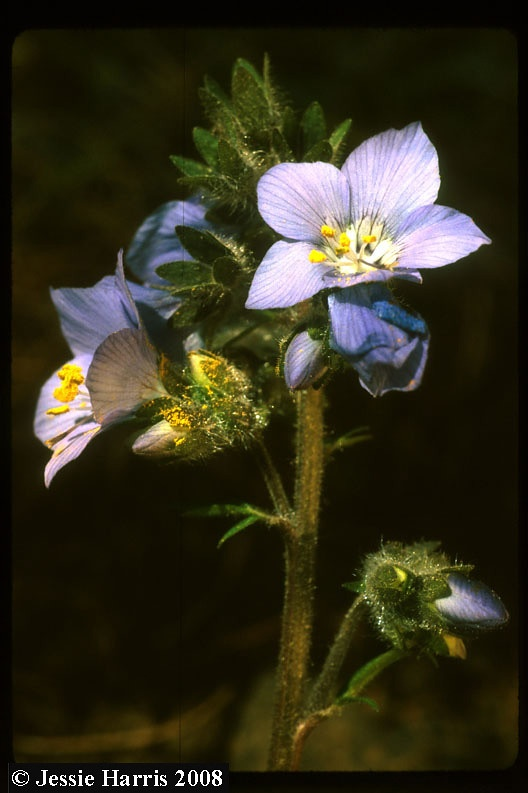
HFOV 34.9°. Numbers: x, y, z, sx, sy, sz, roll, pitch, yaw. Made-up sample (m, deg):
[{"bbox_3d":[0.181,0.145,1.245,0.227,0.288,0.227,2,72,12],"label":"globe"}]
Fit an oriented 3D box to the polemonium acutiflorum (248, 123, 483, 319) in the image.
[{"bbox_3d":[0.121,-0.231,1.059,0.290,0.174,0.202,-1,34,0],"label":"polemonium acutiflorum"}]
